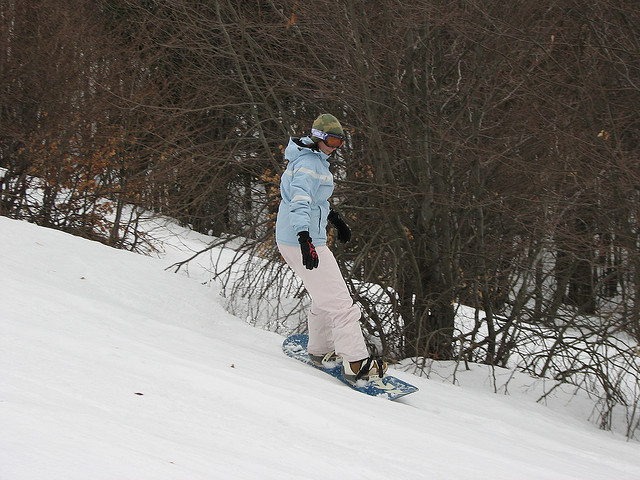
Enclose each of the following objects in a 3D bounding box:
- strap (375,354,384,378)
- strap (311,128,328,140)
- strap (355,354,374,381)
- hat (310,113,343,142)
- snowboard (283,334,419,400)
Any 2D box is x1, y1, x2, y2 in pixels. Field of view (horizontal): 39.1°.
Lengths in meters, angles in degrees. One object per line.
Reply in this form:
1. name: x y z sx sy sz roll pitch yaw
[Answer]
1. strap: 0.629 1.313 9.338 0.093 0.200 0.078 15 -17 -38
2. strap: -0.015 -1.094 9.277 0.197 0.090 0.079 5 -7 40
3. strap: 0.471 1.331 9.336 0.143 0.311 0.099 35 -8 3
4. hat: 0.064 -1.171 9.398 0.353 0.272 0.244 -25 10 7
5. snowboard: 0.259 1.397 9.558 1.769 0.221 0.553 20 17 38
